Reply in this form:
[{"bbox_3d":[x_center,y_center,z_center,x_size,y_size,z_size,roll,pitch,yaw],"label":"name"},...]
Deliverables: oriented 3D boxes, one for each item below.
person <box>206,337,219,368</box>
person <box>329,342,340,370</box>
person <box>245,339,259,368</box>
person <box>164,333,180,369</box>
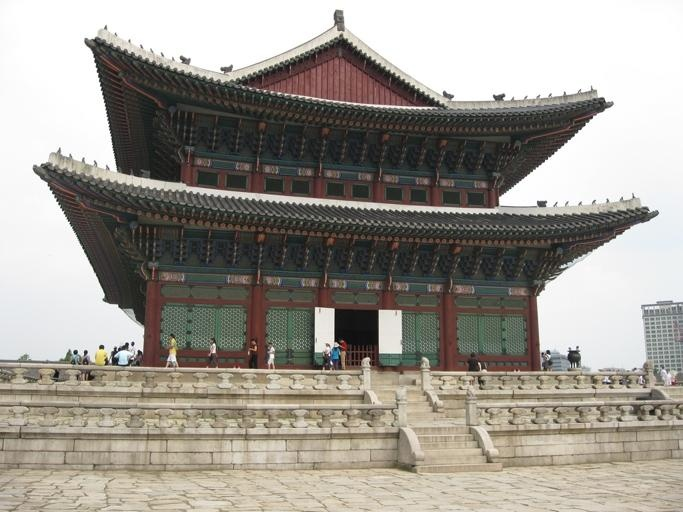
[{"bbox_3d":[-5.351,4.001,51.263,0.415,1.214,0.917,0,0,-5],"label":"person"},{"bbox_3d":[-0.256,4.269,52.468,0.449,1.074,1.289,0,0,1],"label":"person"},{"bbox_3d":[-3.718,4.052,51.602,0.381,1.173,0.849,0,0,-9],"label":"person"},{"bbox_3d":[-6.916,3.879,50.336,0.495,1.319,2.008,0,0,-8],"label":"person"}]
